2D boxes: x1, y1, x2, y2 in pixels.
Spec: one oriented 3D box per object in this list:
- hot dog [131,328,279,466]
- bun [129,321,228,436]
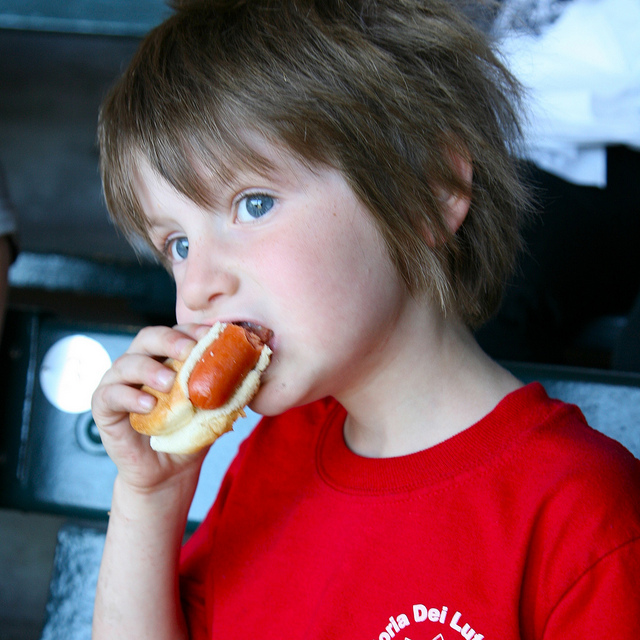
[{"bbox_3d":[-0.169,0.121,1.093,0.077,0.248,0.173,1,39,-45],"label":"hot dog"},{"bbox_3d":[-0.222,0.121,1.176,0.156,0.165,0.066,23,95,31],"label":"bun"}]
